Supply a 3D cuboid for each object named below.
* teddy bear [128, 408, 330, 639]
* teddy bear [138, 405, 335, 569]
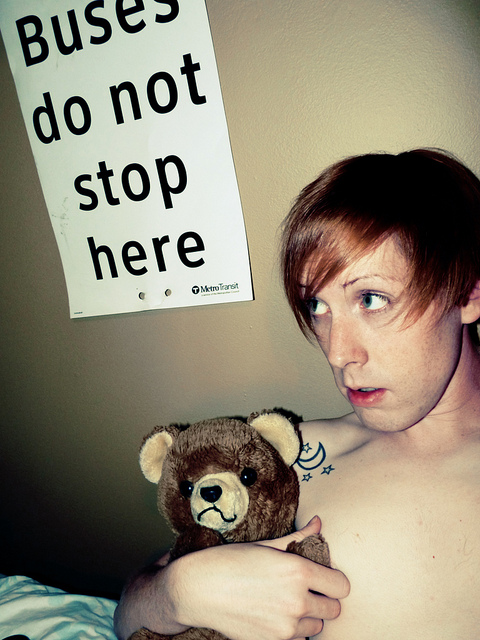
[{"bbox_3d":[-0.018,0.278,0.955,0.255,0.226,0.175,-11,22,-3],"label":"teddy bear"},{"bbox_3d":[-0.009,0.286,0.957,0.287,0.247,0.182,-11,-8,16],"label":"teddy bear"}]
